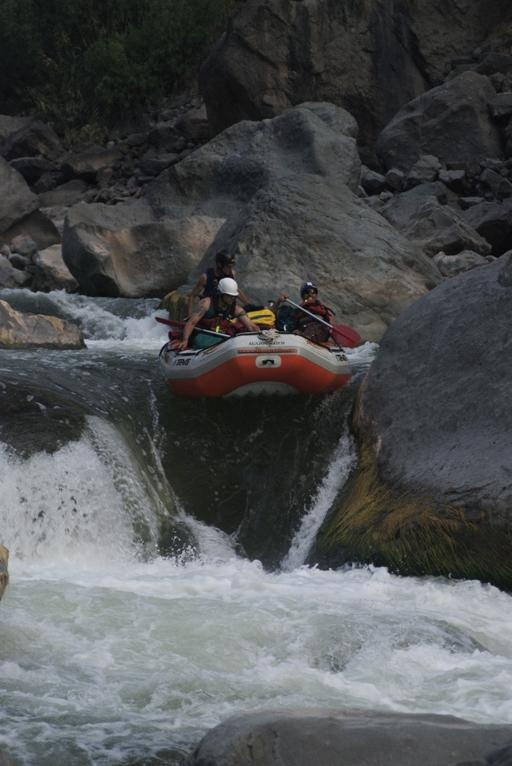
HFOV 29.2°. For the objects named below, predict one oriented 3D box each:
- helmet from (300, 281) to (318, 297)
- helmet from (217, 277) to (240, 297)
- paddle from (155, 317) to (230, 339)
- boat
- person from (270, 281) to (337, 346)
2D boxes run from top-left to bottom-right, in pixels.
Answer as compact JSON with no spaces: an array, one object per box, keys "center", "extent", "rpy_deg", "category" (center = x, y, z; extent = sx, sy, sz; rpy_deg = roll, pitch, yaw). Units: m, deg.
[{"center":[0.596,-1.000,10.590],"extent":[0.151,0.153,0.187],"rpy_deg":[-6,-24,-11],"category":"helmet"},{"center":[-0.276,-0.971,9.926],"extent":[0.160,0.118,0.225],"rpy_deg":[-8,30,-44],"category":"helmet"},{"center":[-0.706,-0.615,10.657],"extent":[0.120,0.293,2.189],"rpy_deg":[-31,13,-14],"category":"paddle"},{"center":[0.013,-0.157,9.438],"extent":[1.752,0.561,0.961],"rpy_deg":[1,-4,1],"category":"boat"},{"center":[0.530,-0.703,10.534],"extent":[0.482,0.782,0.514],"rpy_deg":[-2,-16,21],"category":"person"}]
